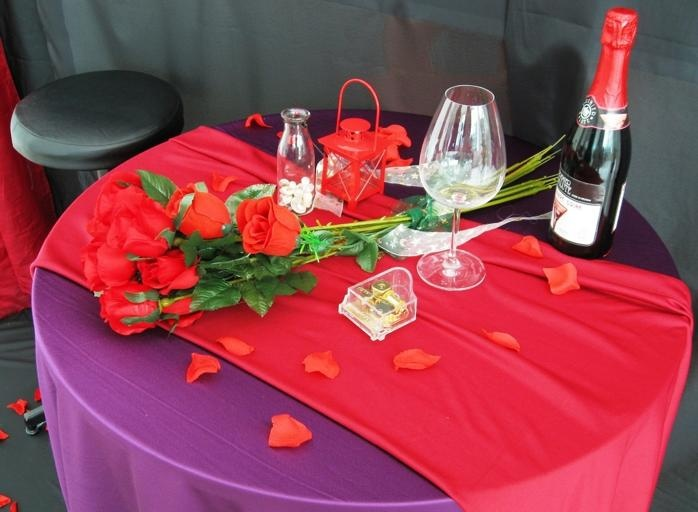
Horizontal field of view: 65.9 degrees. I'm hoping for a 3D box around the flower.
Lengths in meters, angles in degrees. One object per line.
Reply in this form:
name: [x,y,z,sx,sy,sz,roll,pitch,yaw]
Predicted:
flower: [-0.034,-0.007,1.002,0.769,0.276,0.311,-11,50,-25]
